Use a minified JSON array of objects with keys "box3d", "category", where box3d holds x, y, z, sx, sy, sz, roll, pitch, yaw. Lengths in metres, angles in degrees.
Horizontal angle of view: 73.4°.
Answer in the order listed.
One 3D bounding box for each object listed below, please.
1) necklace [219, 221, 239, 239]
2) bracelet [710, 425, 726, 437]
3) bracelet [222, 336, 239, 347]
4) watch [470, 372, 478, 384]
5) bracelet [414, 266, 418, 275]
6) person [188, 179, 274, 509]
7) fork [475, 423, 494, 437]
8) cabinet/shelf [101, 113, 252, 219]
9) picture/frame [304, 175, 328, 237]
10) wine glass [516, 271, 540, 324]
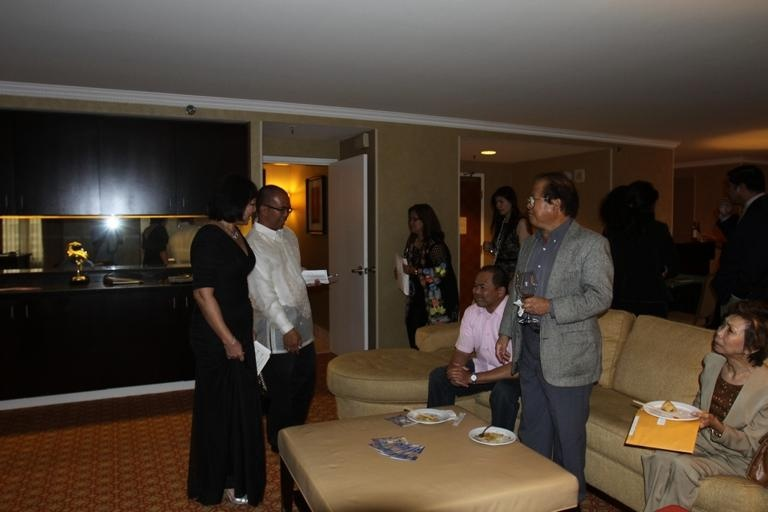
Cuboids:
[{"box3d":[-1.061,-0.176,3.550,0.040,0.110,0.112,-40,-22,28],"category":"necklace"},{"box3d":[1.955,1.037,3.033,0.077,0.034,0.067,-5,-3,-37],"category":"bracelet"},{"box3d":[-1.007,0.568,3.421,0.053,0.028,0.063,5,7,-45],"category":"bracelet"},{"box3d":[0.654,0.895,3.764,0.046,0.073,0.072,-1,-4,-29],"category":"watch"},{"box3d":[0.346,0.166,5.427,0.044,0.062,0.022,1,-6,17],"category":"bracelet"},{"box3d":[-1.118,0.615,3.549,0.614,2.278,0.428,-4,11,-15],"category":"person"},{"box3d":[0.620,1.086,3.193,0.031,0.032,0.218,0,5,23],"category":"fork"},{"box3d":[-2.408,-0.951,6.074,1.992,1.457,1.137,1,1,-23],"category":"cabinet/shelf"},{"box3d":[-1.073,-0.810,8.250,0.098,1.257,0.997,0,-2,-25],"category":"picture/frame"},{"box3d":[0.917,0.272,3.286,0.145,0.362,0.245,2,11,17],"category":"wine glass"}]
